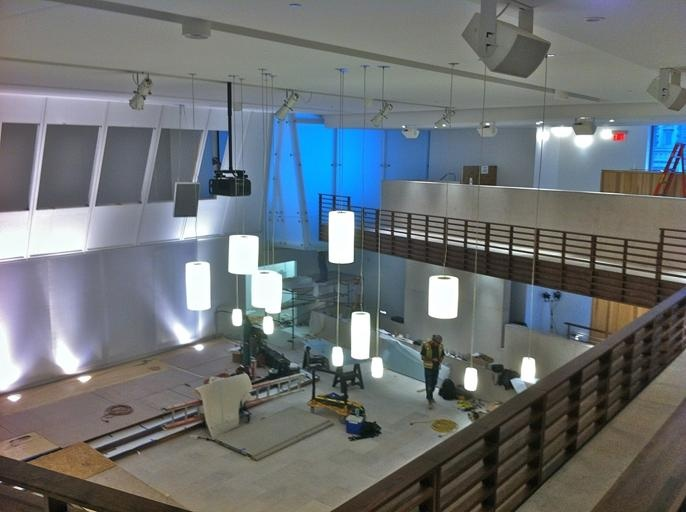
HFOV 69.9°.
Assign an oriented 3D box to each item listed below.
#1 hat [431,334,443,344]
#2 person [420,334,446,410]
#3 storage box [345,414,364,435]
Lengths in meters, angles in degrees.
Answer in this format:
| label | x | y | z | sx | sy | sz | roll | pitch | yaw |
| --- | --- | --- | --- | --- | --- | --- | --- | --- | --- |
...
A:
| label | x | y | z | sx | sy | sz | roll | pitch | yaw |
| --- | --- | --- | --- | --- | --- | --- | --- | --- | --- |
| hat | 2.358 | 2.003 | 12.327 | 0.188 | 0.213 | 0.586 | 1 | 7 | 16 |
| person | 2.311 | 2.830 | 12.706 | 0.519 | 1.945 | 1.101 | 0 | 7 | 10 |
| storage box | 0.266 | 3.716 | 11.119 | 0.336 | 0.325 | 0.340 | 3 | 8 | 25 |
